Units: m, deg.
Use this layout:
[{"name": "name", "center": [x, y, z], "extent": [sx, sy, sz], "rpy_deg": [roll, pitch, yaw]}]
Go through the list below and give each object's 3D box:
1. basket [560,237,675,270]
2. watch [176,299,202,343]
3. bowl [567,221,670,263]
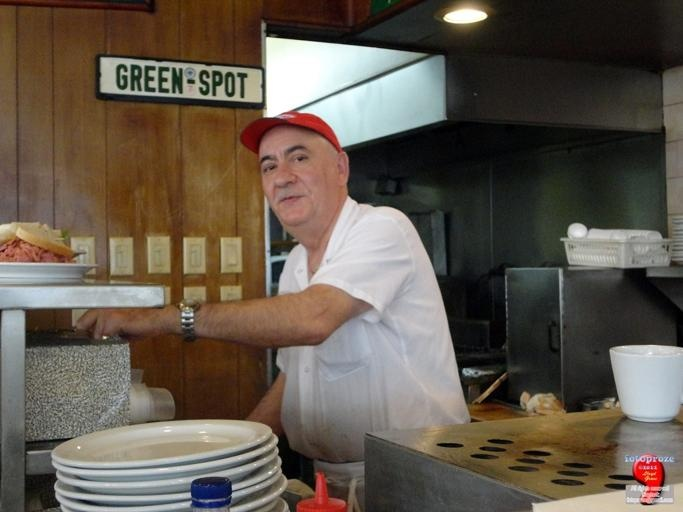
[{"name": "basket", "center": [1.129, -0.017, 2.894], "extent": [0.411, 0.129, 0.270], "rpy_deg": [-2, 0, 25]}, {"name": "watch", "center": [-0.310, 0.141, 1.477], "extent": [0.046, 0.080, 0.076], "rpy_deg": [4, 19, -8]}, {"name": "bowl", "center": [1.102, -0.030, 2.892], "extent": [0.201, 0.122, 0.272], "rpy_deg": [1, -2, -21]}]
